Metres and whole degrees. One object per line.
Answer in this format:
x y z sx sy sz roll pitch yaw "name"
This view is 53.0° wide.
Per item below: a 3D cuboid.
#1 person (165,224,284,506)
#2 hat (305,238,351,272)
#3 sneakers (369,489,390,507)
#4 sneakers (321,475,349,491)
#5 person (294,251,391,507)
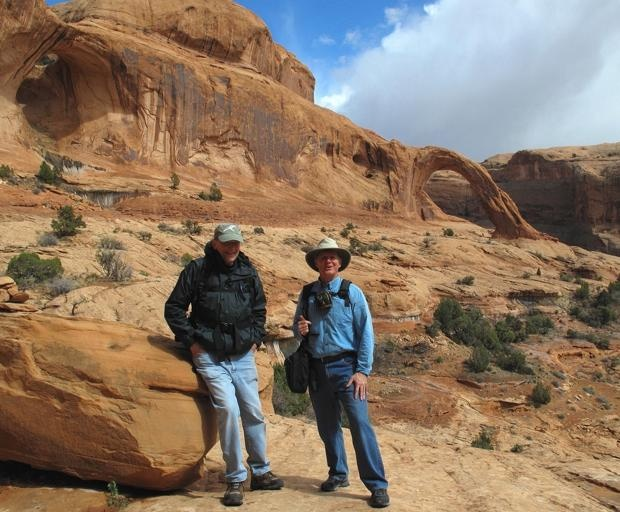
-1.215 1.562 9.333 1.556 4.039 0.885 6 7 21 "person"
0.299 -0.008 12.345 1.095 0.309 1.051 -3 -45 4 "hat"
1.030 3.562 9.172 0.311 0.251 0.217 4 6 8 "sneakers"
0.367 3.485 9.527 0.441 0.170 0.176 5 -8 -32 "sneakers"
0.486 1.703 9.424 1.636 3.838 0.554 8 8 34 "person"
